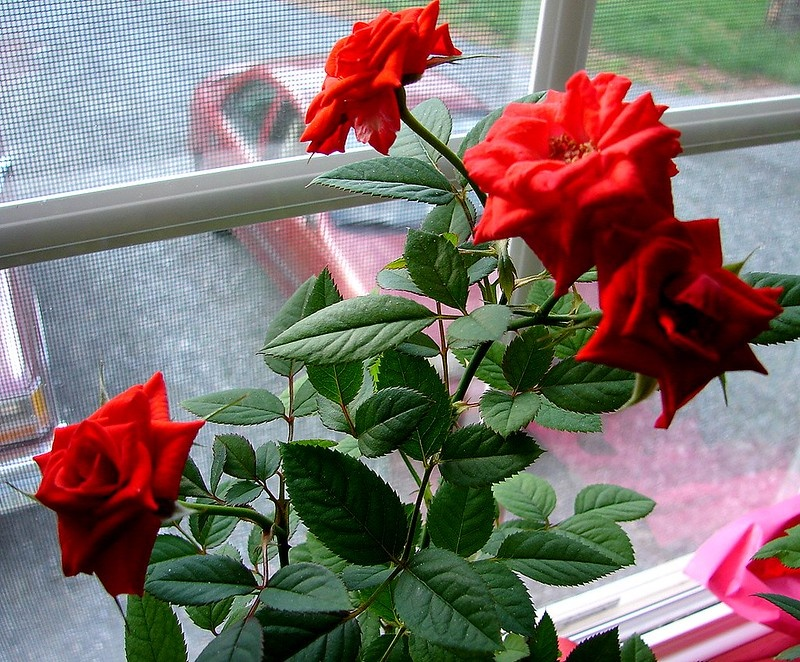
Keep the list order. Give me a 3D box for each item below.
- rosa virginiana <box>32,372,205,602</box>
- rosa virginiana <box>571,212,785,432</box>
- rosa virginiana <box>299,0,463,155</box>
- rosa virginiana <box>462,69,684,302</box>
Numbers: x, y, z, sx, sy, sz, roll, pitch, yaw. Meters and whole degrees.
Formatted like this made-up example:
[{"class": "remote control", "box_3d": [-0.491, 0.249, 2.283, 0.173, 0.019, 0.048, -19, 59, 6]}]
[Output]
[{"class": "rosa virginiana", "box_3d": [-0.266, 0.141, 0.757, 0.159, 0.143, 0.161, -27, 41, -27]}, {"class": "rosa virginiana", "box_3d": [0.226, -0.005, 0.662, 0.172, 0.142, 0.096, -20, 39, -19]}, {"class": "rosa virginiana", "box_3d": [-0.019, -0.249, 0.795, 0.168, 0.131, 0.110, -6, 36, -1]}, {"class": "rosa virginiana", "box_3d": [0.154, -0.125, 0.736, 0.204, 0.101, 0.209, 13, 76, 24]}]
